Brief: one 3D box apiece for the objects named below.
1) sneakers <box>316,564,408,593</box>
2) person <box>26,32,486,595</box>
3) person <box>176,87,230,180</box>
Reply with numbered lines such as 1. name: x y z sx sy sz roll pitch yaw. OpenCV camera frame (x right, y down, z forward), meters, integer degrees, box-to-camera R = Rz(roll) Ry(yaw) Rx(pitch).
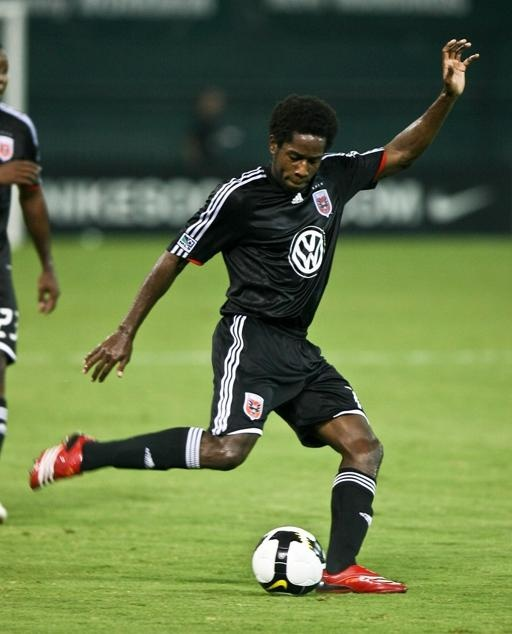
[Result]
1. sneakers: 0.340 0.851 2.857 0.284 0.080 0.094 -2 -14 17
2. person: 0.021 -0.135 3.225 1.346 1.967 0.924 7 5 9
3. person: -0.738 -2.796 13.300 0.519 1.494 0.563 9 -10 27
